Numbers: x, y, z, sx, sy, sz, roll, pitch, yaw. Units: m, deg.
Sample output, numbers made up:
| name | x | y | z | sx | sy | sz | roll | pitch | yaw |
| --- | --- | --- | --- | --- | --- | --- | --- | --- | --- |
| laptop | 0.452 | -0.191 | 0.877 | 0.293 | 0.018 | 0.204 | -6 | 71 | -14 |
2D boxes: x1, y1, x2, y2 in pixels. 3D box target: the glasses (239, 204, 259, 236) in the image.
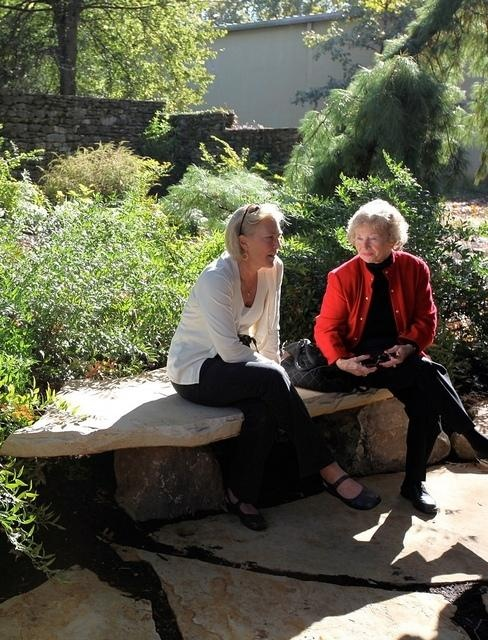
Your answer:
| name | x | y | z | sx | sy | sz | roll | pitch | yaw |
| --- | --- | --- | --- | --- | --- | --- | --- | --- | --- |
| glasses | 0.013 | -0.468 | 2.725 | 0.042 | 0.124 | 0.135 | 20 | 11 | 9 |

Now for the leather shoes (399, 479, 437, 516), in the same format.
| name | x | y | z | sx | sy | sz | roll | pitch | yaw |
| --- | --- | --- | --- | --- | --- | --- | --- | --- | --- |
| leather shoes | 0.825 | 0.853 | 2.765 | 0.071 | 0.073 | 0.183 | -5 | 13 | -23 |

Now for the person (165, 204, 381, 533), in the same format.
| name | x | y | z | sx | sy | sz | roll | pitch | yaw |
| --- | --- | --- | --- | --- | --- | --- | --- | --- | --- |
| person | 0.008 | 0.130 | 2.733 | 0.720 | 1.340 | 0.688 | 0 | 11 | -9 |

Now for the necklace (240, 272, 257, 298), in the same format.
| name | x | y | z | sx | sy | sz | roll | pitch | yaw |
| --- | --- | --- | --- | --- | --- | --- | --- | --- | --- |
| necklace | 0.004 | -0.168 | 2.895 | 0.037 | 0.097 | 0.114 | 6 | 7 | 44 |

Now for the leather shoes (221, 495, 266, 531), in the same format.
| name | x | y | z | sx | sy | sz | roll | pitch | yaw |
| --- | --- | --- | --- | --- | --- | --- | --- | --- | --- |
| leather shoes | 0.009 | 0.877 | 2.661 | 0.241 | 0.086 | 0.083 | 26 | 32 | 36 |
